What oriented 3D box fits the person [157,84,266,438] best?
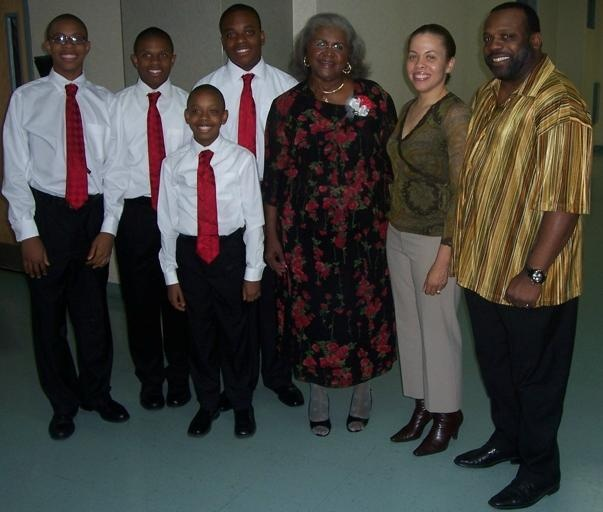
[{"bbox_3d":[-0.410,0.049,2.613,0.486,1.611,0.290,-3,14,-9],"label":"person"}]

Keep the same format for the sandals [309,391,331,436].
[{"bbox_3d":[0.087,0.747,2.733,0.074,0.092,0.237,-4,55,0],"label":"sandals"}]

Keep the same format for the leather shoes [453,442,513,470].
[{"bbox_3d":[0.788,0.861,2.426,0.283,0.127,0.100,-1,35,8],"label":"leather shoes"}]

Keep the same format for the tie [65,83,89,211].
[{"bbox_3d":[-1.036,-0.501,2.588,0.092,0.554,0.185,-4,14,-13],"label":"tie"}]

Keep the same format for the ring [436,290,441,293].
[{"bbox_3d":[0.572,0.152,2.371,0.013,0.013,0.012,8,4,-1],"label":"ring"}]

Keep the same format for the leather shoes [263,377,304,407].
[{"bbox_3d":[-0.091,0.734,3.066,0.089,0.095,0.238,-24,28,-34],"label":"leather shoes"}]

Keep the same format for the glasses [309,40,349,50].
[{"bbox_3d":[0.115,-0.900,2.417,0.130,0.040,0.026,-1,14,0],"label":"glasses"}]

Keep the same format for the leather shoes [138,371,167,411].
[{"bbox_3d":[-0.788,0.716,2.995,0.153,0.181,0.456,0,-3,-12],"label":"leather shoes"}]

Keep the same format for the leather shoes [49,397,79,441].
[{"bbox_3d":[-1.142,0.785,2.723,0.080,0.081,0.202,0,31,-19],"label":"leather shoes"}]

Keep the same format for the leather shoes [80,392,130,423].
[{"bbox_3d":[-1.008,0.770,2.886,0.286,0.131,0.106,10,27,11],"label":"leather shoes"}]

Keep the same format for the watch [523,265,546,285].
[{"bbox_3d":[0.794,0.065,1.935,0.057,0.058,0.019,-16,7,39],"label":"watch"}]

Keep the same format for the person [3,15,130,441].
[{"bbox_3d":[-1.086,-0.121,2.666,0.521,1.924,0.377,-6,14,-20],"label":"person"}]

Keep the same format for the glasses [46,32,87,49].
[{"bbox_3d":[-1.042,-0.963,2.535,0.163,0.051,0.076,-7,15,-23],"label":"glasses"}]

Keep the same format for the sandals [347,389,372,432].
[{"bbox_3d":[0.285,0.743,2.761,0.096,0.217,0.052,3,0,3],"label":"sandals"}]

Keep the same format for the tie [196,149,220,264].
[{"bbox_3d":[-0.428,-0.215,2.547,0.103,0.508,0.063,-5,14,-16],"label":"tie"}]

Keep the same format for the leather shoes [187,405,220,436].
[{"bbox_3d":[-0.476,0.801,2.772,0.066,0.079,0.185,5,13,17],"label":"leather shoes"}]

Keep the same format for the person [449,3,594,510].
[{"bbox_3d":[0.801,0.036,2.135,0.470,1.871,0.365,7,16,30],"label":"person"}]

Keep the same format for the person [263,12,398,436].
[{"bbox_3d":[0.126,-0.228,2.599,0.628,1.662,0.311,1,14,8],"label":"person"}]
